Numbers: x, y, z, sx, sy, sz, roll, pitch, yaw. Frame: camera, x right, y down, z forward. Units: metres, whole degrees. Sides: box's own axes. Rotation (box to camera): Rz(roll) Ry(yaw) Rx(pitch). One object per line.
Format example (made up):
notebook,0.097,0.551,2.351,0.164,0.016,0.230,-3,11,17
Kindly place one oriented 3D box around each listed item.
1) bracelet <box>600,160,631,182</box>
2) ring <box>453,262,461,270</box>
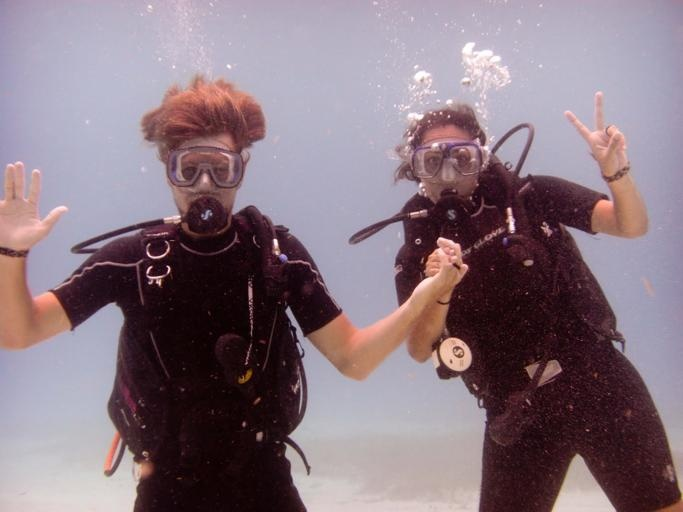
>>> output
bracelet,3.059,-0.936,7.738,0.289,0.234,0.208,-2,4,21
ring,1.239,0.098,7.510,0.107,0.035,0.024,20,14,-40
